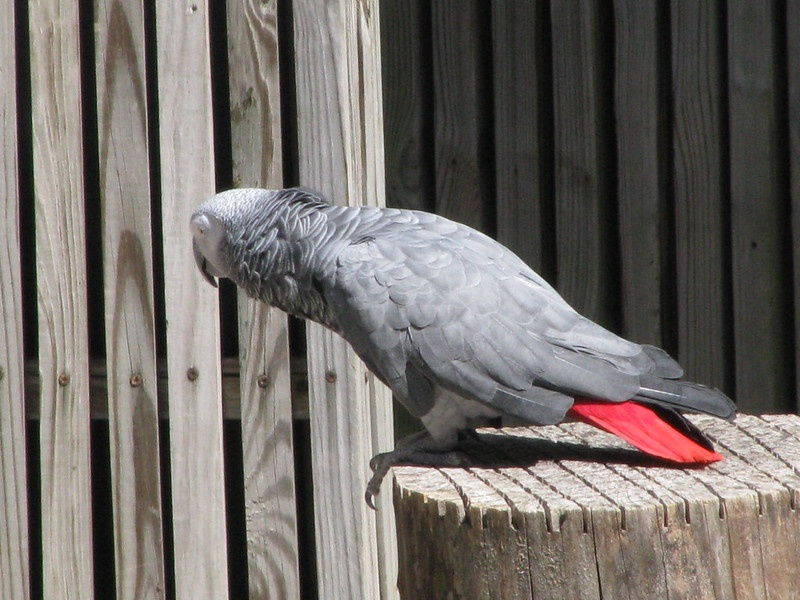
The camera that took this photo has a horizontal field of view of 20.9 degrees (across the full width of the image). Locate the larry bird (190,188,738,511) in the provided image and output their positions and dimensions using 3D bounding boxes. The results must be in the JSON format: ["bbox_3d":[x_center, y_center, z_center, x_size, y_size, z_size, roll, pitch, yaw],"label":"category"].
[{"bbox_3d":[0.227,0.083,7.056,1.782,1.323,0.731,4,9,15],"label":"larry bird"}]
